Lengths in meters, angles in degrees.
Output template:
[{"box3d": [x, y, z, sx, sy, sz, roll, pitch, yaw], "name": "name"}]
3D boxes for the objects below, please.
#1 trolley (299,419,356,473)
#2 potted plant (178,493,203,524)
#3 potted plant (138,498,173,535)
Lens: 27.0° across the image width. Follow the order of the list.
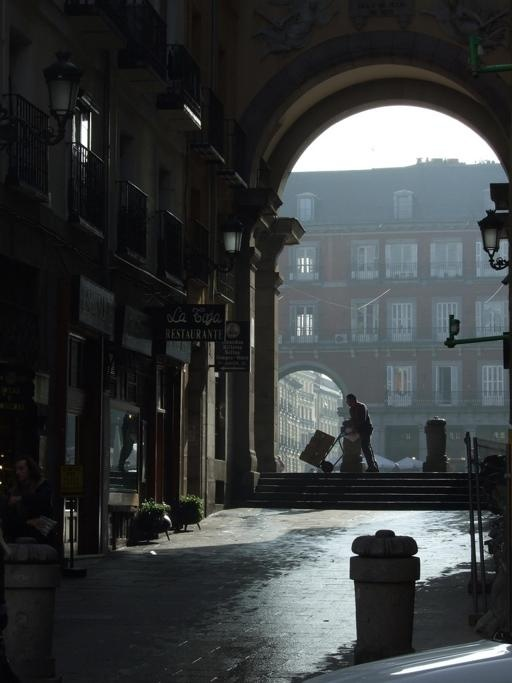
[{"box3d": [2.061, 2.943, 28.895, 0.836, 1.143, 0.670, -5, -19, 1], "name": "trolley"}, {"box3d": [-1.170, 2.967, 19.096, 0.356, 0.642, 0.449, -1, -4, 9], "name": "potted plant"}, {"box3d": [-1.639, 2.884, 17.526, 0.402, 0.589, 0.506, -4, -5, 9], "name": "potted plant"}]
